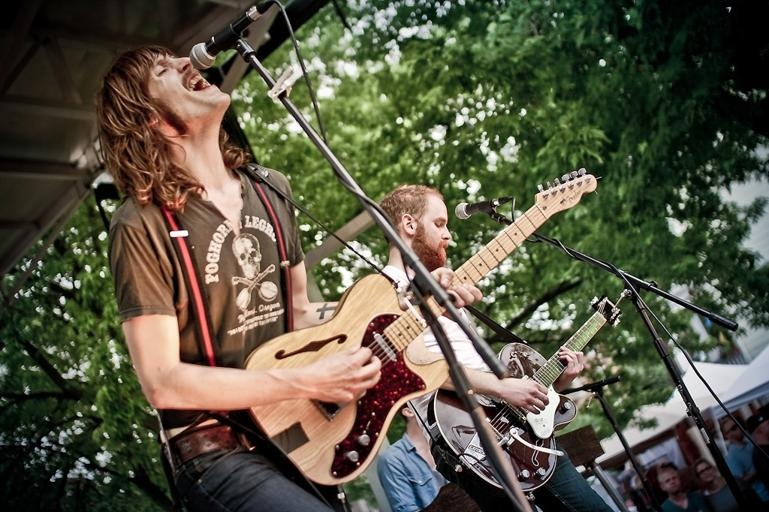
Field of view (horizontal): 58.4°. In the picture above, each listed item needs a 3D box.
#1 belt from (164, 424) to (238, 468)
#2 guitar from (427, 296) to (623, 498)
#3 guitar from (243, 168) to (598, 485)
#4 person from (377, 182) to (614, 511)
[{"bbox_3d":[-1.314,1.356,5.023,0.305,0.157,0.415,-36,-24,26],"label":"belt"},{"bbox_3d":[1.142,1.451,6.208,2.596,1.105,0.380,-45,6,-35],"label":"guitar"},{"bbox_3d":[0.324,0.277,5.159,3.361,1.202,0.364,-48,2,19],"label":"guitar"},{"bbox_3d":[0.814,0.655,6.376,1.410,3.679,0.404,-29,6,-37],"label":"person"}]
